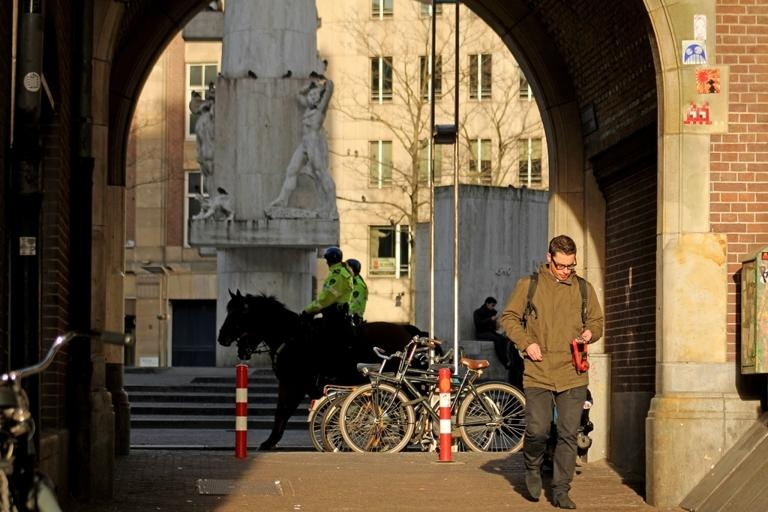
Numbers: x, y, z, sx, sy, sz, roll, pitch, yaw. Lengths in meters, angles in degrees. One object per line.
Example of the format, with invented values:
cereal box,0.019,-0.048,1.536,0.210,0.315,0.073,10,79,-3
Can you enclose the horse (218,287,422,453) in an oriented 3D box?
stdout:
horse,-0.867,1.676,25.125,3.226,2.103,0.837,3,1,-18

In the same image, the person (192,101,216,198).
person,-4.083,-2.439,38.878,0.369,2.221,0.807,2,-4,-11

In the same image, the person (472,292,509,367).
person,2.251,1.587,35.275,0.714,1.370,0.530,8,20,38

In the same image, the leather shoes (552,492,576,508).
leather shoes,2.002,2.753,19.109,0.291,0.177,0.254,1,-4,14

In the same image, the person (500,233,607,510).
person,1.889,1.325,19.154,1.065,3.016,0.580,1,-4,7

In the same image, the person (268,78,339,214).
person,-1.706,-2.387,38.052,1.370,3.204,0.924,2,-4,-5

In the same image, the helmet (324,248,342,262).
helmet,-0.758,0.016,25.359,0.200,0.268,0.243,1,4,8

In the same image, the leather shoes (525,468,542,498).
leather shoes,1.701,2.625,19.381,0.134,0.421,0.161,-3,-9,3

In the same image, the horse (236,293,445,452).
horse,-0.726,1.762,25.070,3.480,2.288,0.923,3,3,8

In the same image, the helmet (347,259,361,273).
helmet,-0.404,0.183,25.204,0.201,0.155,0.177,1,-1,-31

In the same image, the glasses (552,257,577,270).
glasses,2.003,0.113,19.088,0.255,0.125,0.151,2,-4,-1

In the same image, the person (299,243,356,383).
person,-0.938,0.950,27.359,1.021,2.963,0.862,2,-28,1
